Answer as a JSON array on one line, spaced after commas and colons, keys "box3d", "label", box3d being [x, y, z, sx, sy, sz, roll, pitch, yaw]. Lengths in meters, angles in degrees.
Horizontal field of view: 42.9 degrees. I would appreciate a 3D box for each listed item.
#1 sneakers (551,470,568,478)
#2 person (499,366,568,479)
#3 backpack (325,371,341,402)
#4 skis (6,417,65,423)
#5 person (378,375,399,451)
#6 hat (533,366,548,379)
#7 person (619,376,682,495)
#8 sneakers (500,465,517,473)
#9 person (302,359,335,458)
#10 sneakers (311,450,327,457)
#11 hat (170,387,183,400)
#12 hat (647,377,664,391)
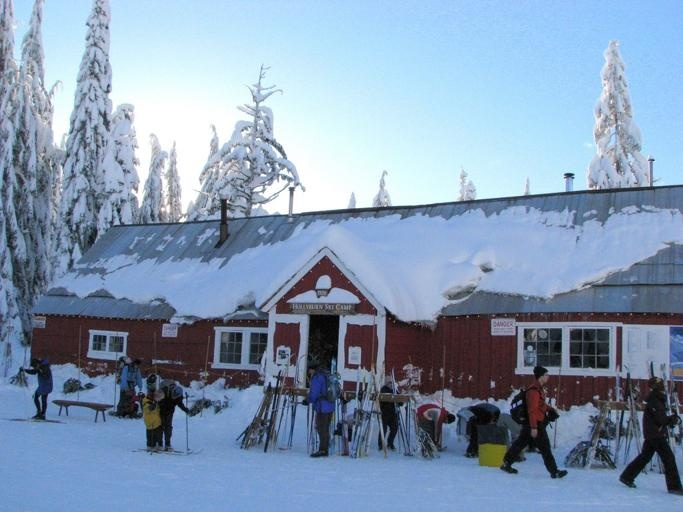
[{"box3d": [4.866, 4.910, 19.542, 0.198, 0.077, 0.150, -17, 10, -2], "label": "sneakers"}, {"box3d": [4.393, 3.811, 19.973, 1.320, 2.480, 0.680, 0, -9, 11], "label": "person"}, {"box3d": [-0.245, 3.272, 21.766, 0.462, 0.962, 0.691, -1, -7, 11], "label": "backpack"}, {"box3d": [-8.448, 4.515, 23.810, 0.952, 0.061, 0.112, 7, -11, 2], "label": "skis"}, {"box3d": [1.222, 4.130, 22.786, 0.494, 1.877, 1.602, 1, -10, 3], "label": "person"}, {"box3d": [4.594, 2.696, 20.097, 0.320, 0.297, 0.254, -4, 3, -25], "label": "hat"}, {"box3d": [6.859, 3.952, 19.173, 1.152, 2.470, 0.482, -2, -10, 24], "label": "person"}, {"box3d": [3.828, 4.906, 20.007, 0.386, 0.221, 0.153, 2, 1, 7], "label": "sneakers"}, {"box3d": [-0.527, 3.811, 21.593, 0.704, 2.355, 0.784, 2, -9, 0], "label": "person"}, {"box3d": [-0.539, 4.849, 21.291, 0.384, 0.187, 0.154, 3, -7, 4], "label": "sneakers"}, {"box3d": [-4.081, 3.419, 21.539, 0.277, 0.250, 0.186, 6, -10, -23], "label": "hat"}, {"box3d": [6.982, 2.871, 19.389, 0.235, 0.311, 0.295, -3, 0, 30], "label": "hat"}]
